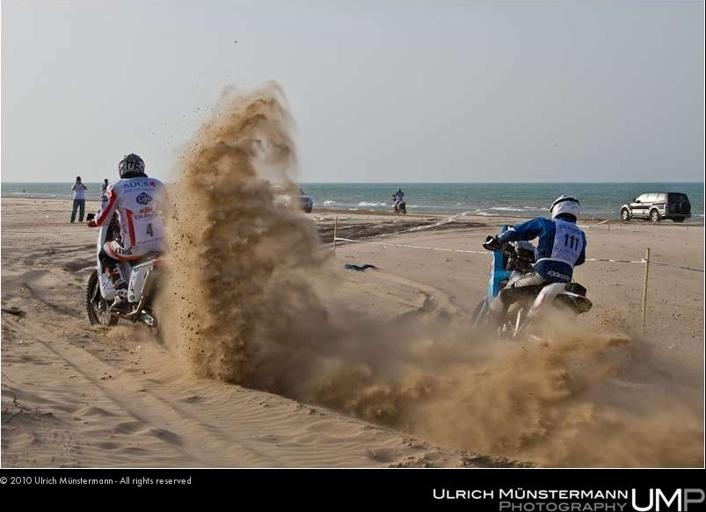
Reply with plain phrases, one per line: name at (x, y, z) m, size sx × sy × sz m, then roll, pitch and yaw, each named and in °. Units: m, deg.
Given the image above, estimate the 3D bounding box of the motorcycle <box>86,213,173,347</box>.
motorcycle at (-3.542, 0.345, 9.885) m, size 1.048 × 1.612 × 2.522 m, roll -6°, pitch 23°, yaw -37°

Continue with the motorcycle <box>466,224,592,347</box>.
motorcycle at (2.529, -0.007, 8.075) m, size 0.734 × 1.066 × 1.659 m, roll -24°, pitch 23°, yaw -25°

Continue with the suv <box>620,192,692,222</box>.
suv at (17.176, -2.736, 33.317) m, size 1.224 × 1.962 × 3.544 m, roll -5°, pitch 15°, yaw -27°

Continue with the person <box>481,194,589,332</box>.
person at (2.578, 0.033, 7.872) m, size 1.048 × 1.348 × 2.127 m, roll 18°, pitch 12°, yaw -8°

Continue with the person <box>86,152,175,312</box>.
person at (-3.455, -0.306, 9.048) m, size 1.108 × 2.445 × 0.649 m, roll 0°, pitch 13°, yaw -8°

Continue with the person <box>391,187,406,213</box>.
person at (3.052, -3.750, 38.799) m, size 0.964 × 1.377 × 2.139 m, roll 1°, pitch 26°, yaw -1°

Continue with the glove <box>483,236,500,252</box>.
glove at (2.013, -0.187, 8.430) m, size 0.161 × 0.106 × 0.267 m, roll -20°, pitch -30°, yaw 19°

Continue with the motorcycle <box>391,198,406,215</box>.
motorcycle at (3.119, -3.407, 38.631) m, size 0.389 × 0.955 × 1.719 m, roll 5°, pitch 26°, yaw -5°

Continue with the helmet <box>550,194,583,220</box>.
helmet at (2.971, -0.678, 8.163) m, size 0.331 × 0.359 × 0.399 m, roll 20°, pitch 5°, yaw -18°
